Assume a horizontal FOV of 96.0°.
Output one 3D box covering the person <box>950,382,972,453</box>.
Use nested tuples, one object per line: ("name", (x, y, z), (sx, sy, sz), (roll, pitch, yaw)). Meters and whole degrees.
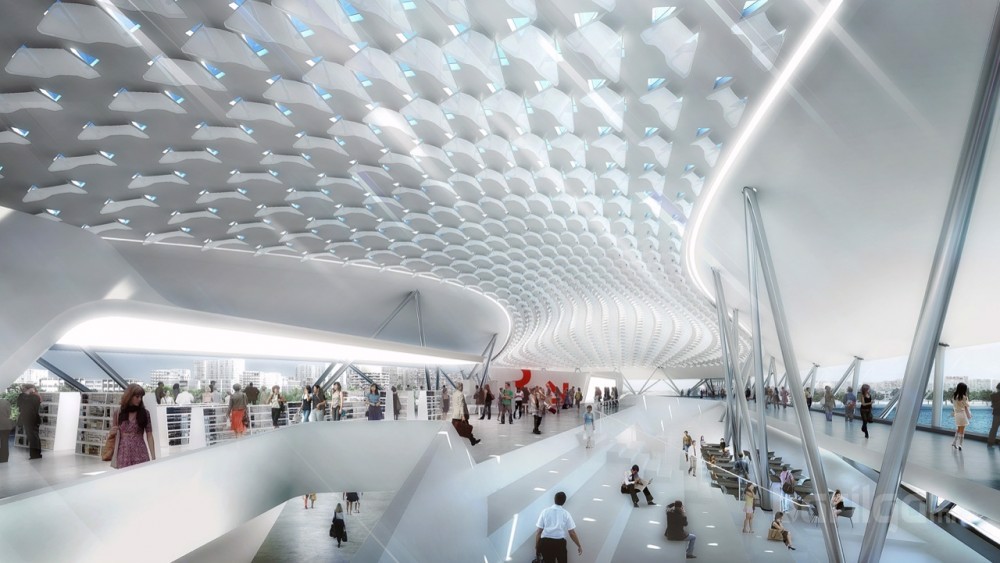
("person", (15.804, 4.565, 15.385), (0.559, 2.243, 1.269), (-9, -14, 40))

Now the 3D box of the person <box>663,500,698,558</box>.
("person", (5.959, 8.199, 15.138), (0.891, 1.686, 0.667), (-5, -12, 28))

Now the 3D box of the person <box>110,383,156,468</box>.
("person", (-9.254, 3.550, 11.182), (0.828, 2.037, 0.832), (10, -14, -41))

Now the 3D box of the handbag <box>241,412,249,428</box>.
("handbag", (-9.679, 5.148, 16.811), (0.182, 0.504, 0.397), (-5, -1, -16))

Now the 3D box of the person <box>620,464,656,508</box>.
("person", (4.966, 7.533, 16.796), (0.877, 1.297, 1.200), (-2, -1, -40))

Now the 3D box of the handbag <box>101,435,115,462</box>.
("handbag", (-9.765, 4.034, 11.007), (0.324, 0.595, 0.229), (-9, -14, 40))
